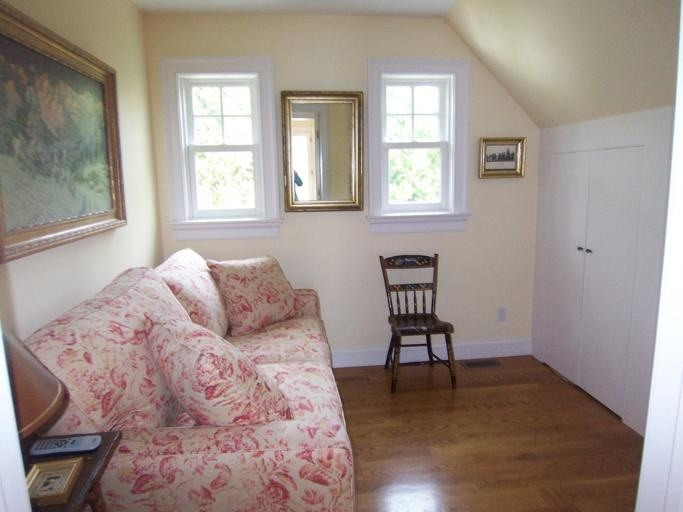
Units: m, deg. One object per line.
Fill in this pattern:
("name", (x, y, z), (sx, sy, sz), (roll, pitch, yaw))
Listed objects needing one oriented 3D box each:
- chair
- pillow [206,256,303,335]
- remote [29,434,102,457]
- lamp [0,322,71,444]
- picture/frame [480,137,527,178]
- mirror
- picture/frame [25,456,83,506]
("chair", (0.565, 0.455, 3.633), (0.562, 0.886, 0.678), (-1, 12, 5))
("pillow", (-0.563, 0.231, 3.164), (0.484, 0.482, 0.144), (-8, -17, -47))
("remote", (-0.869, 0.596, 1.556), (0.153, 0.020, 0.076), (-2, 17, -16))
("lamp", (-0.853, 0.356, 1.396), (0.134, 0.281, 0.203), (-10, 14, -35))
("picture/frame", (1.218, -0.753, 3.765), (0.274, 0.260, 0.022), (-1, 7, -6))
("mirror", (-0.159, -0.797, 3.629), (0.772, 1.124, 0.075), (-1, 9, -7))
("picture/frame", (-0.854, 0.664, 1.459), (0.135, 0.071, 0.131), (-2, 11, -4))
